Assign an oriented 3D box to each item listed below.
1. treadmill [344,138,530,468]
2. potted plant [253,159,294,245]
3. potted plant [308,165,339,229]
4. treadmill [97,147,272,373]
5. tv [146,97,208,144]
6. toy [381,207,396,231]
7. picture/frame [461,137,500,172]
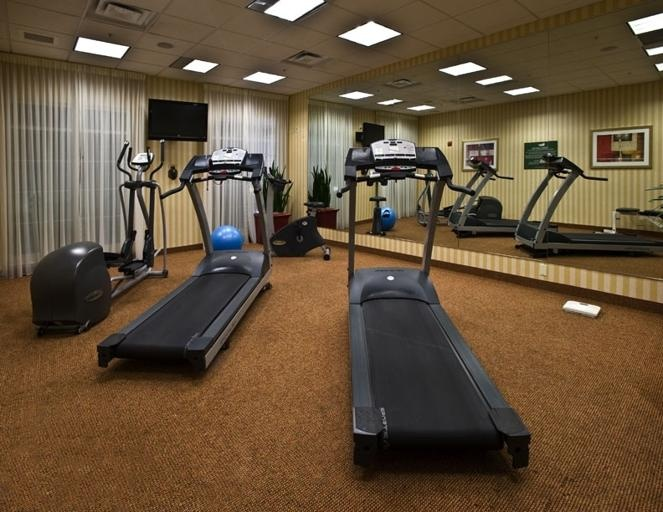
[{"bbox_3d":[0.634,0.129,3.405,1.033,1.882,1.983,0,12,-1],"label":"treadmill"},{"bbox_3d":[-1.031,-0.878,8.349,0.641,1.305,0.586,-3,7,-36],"label":"potted plant"},{"bbox_3d":[-0.116,-0.947,8.419,0.430,1.100,0.507,-6,1,-30],"label":"potted plant"},{"bbox_3d":[-1.121,0.055,4.509,0.947,1.489,2.362,0,13,12],"label":"treadmill"},{"bbox_3d":[-2.393,-2.113,7.326,0.918,0.576,0.118,-6,14,-26],"label":"tv"},{"bbox_3d":[0.862,-0.562,7.229,0.315,0.395,0.330,4,-3,3],"label":"toy"},{"bbox_3d":[1.952,-1.315,6.045,0.051,0.426,0.519,-4,6,-38],"label":"picture/frame"}]
